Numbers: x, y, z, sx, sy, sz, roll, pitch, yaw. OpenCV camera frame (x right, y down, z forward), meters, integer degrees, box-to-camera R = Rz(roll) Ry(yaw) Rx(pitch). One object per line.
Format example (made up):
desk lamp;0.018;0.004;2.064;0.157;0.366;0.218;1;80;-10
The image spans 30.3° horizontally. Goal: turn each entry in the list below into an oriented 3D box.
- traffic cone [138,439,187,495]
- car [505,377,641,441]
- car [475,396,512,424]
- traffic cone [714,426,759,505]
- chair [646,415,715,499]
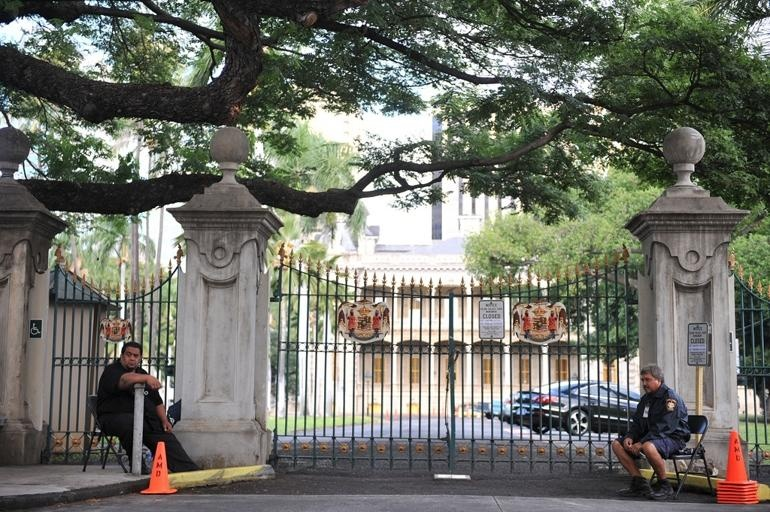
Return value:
traffic cone;-4.187;3.941;26.511;0.642;1.006;0.608;0;-10;-8
car;4.351;3.765;35.349;3.941;1.151;1.715;0;-6;-17
car;3.083;4.540;41.216;1.152;0.796;2.446;0;-17;-1
traffic cone;6.456;3.933;26.415;0.750;1.342;0.588;-4;-10;13
chair;5.492;3.744;26.902;1.169;1.401;1.015;-2;2;-15
